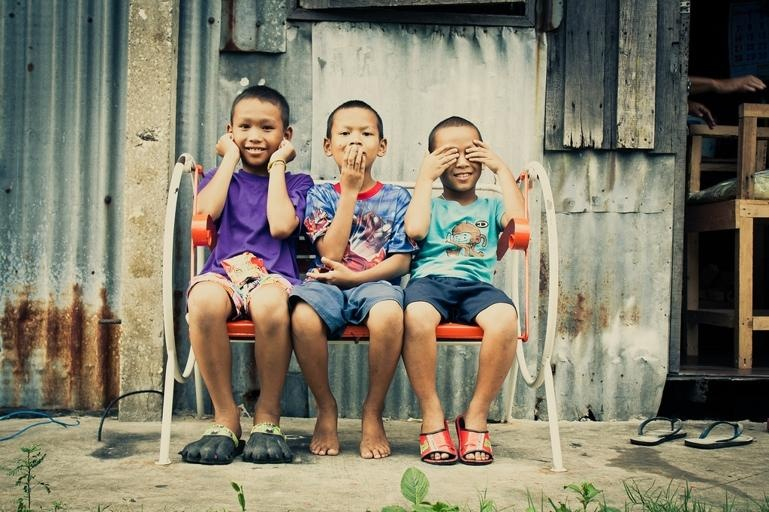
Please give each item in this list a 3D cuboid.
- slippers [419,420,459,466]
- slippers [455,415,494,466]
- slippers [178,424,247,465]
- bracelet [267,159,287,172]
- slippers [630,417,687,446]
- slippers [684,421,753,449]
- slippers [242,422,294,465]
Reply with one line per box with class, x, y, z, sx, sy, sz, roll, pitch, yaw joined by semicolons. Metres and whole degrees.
slippers;0.277;0.993;5.957;0.195;0.128;0.485;-5;15;-2
slippers;0.472;0.977;5.956;0.182;0.135;0.436;4;25;-11
slippers;-0.917;1.007;5.939;0.294;0.168;0.450;1;4;13
bracelet;-0.601;-0.512;6.121;0.079;0.058;0.085;-2;-11;4
slippers;1.605;1.008;6.352;0.280;0.149;0.537;-1;-6;26
slippers;1.932;1.016;6.267;0.316;0.146;0.494;-2;-6;35
slippers;-0.643;1.005;5.954;0.251;0.191;0.469;0;3;-11
